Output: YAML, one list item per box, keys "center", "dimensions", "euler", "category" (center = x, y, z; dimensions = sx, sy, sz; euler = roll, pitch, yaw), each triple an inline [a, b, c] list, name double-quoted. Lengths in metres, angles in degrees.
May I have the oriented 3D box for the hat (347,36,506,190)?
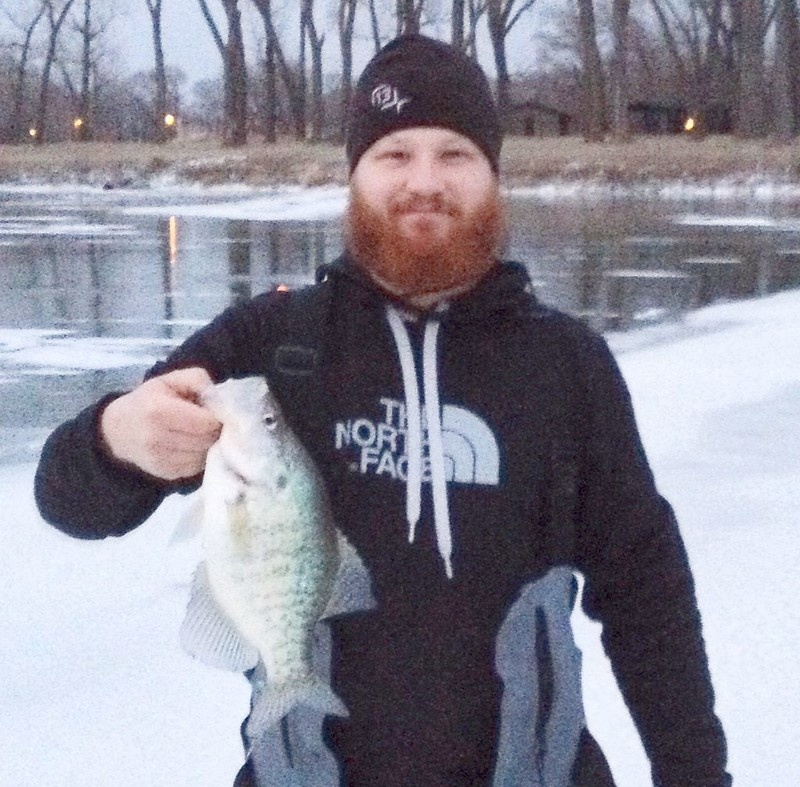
- center: [0.063, -0.810, 3.470]
  dimensions: [0.418, 0.352, 0.450]
  euler: [-6, -5, 43]
  category: "hat"
